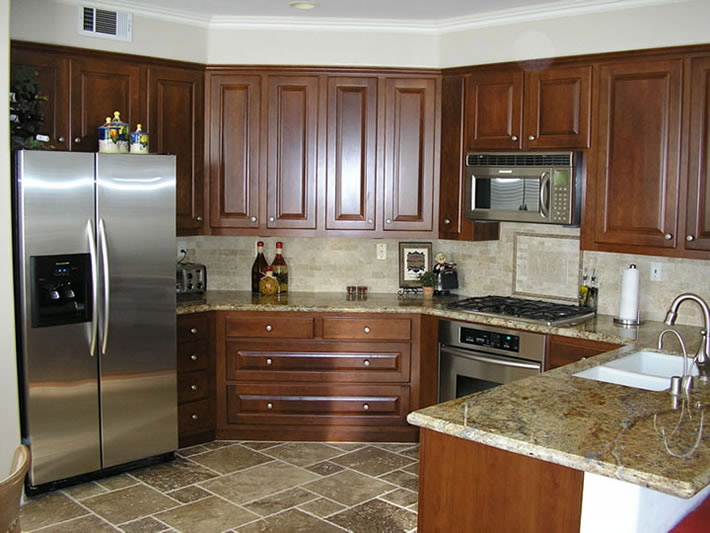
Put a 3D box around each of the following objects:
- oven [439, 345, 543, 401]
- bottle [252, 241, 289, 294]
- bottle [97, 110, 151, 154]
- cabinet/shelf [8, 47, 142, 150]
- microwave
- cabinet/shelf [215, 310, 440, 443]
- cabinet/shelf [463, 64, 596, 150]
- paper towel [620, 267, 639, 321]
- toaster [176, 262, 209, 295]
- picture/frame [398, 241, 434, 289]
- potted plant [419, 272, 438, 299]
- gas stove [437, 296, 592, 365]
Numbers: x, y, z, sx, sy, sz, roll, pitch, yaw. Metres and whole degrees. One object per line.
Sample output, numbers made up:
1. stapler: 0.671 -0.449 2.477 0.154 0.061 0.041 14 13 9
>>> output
1. oven: 1.014 0.708 4.120 0.435 0.556 0.631 -1 3 -44
2. bottle: -0.721 0.001 4.877 0.322 0.432 0.280 0 8 -8
3. bottle: -1.590 -0.912 3.927 0.302 0.286 0.219 -3 9 -24
4. cabinet/shelf: -1.983 -1.133 4.163 1.034 0.771 0.362 7 14 0
5. microwave: 1.239 -0.536 4.097 0.988 0.573 0.542 3 2 45
6. cabinet/shelf: -0.204 0.765 4.293 1.198 0.660 0.362 0 0 1
7. cabinet/shelf: 1.320 -1.131 4.160 0.351 0.549 0.976 -16 19 -41
8. paper towel: 1.836 0.186 3.805 0.117 0.382 0.113 5 9 23
9. toaster: -1.291 0.094 4.508 0.264 0.172 0.246 0 3 -19
10. picture/frame: 0.514 -0.025 4.785 0.322 0.370 0.012 -1 1 -21
11. potted plant: 0.606 0.150 4.664 0.118 0.207 0.144 9 11 44
12. gas stove: 1.204 0.416 4.185 0.908 0.296 0.731 7 10 41
